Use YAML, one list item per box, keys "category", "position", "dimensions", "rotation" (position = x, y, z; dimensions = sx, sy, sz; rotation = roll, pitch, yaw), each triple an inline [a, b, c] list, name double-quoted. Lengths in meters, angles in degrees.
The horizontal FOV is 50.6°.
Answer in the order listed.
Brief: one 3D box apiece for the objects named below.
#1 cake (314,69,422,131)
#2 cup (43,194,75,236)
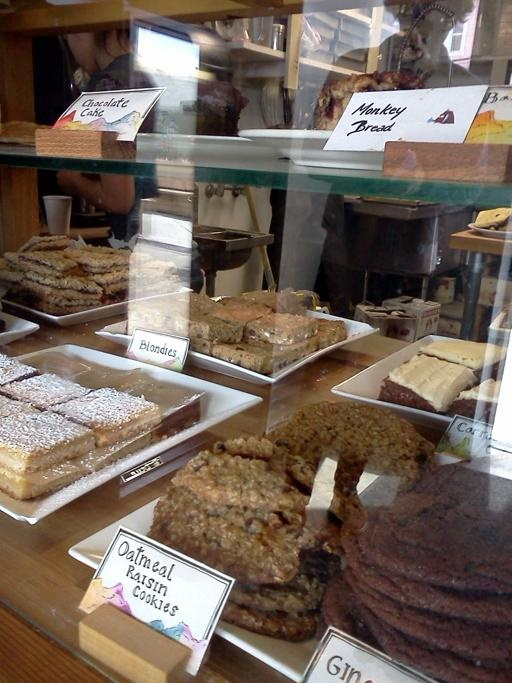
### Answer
- category: "cake"
  position: [0.122, -0.276, 0.616]
  dimensions: [0.053, 0.061, 0.160]
  rotation: [-4, 18, -24]
- category: "cup"
  position: [-0.419, -0.272, 1.149]
  dimensions: [0.087, 0.081, 0.080]
  rotation: [5, 14, -1]
